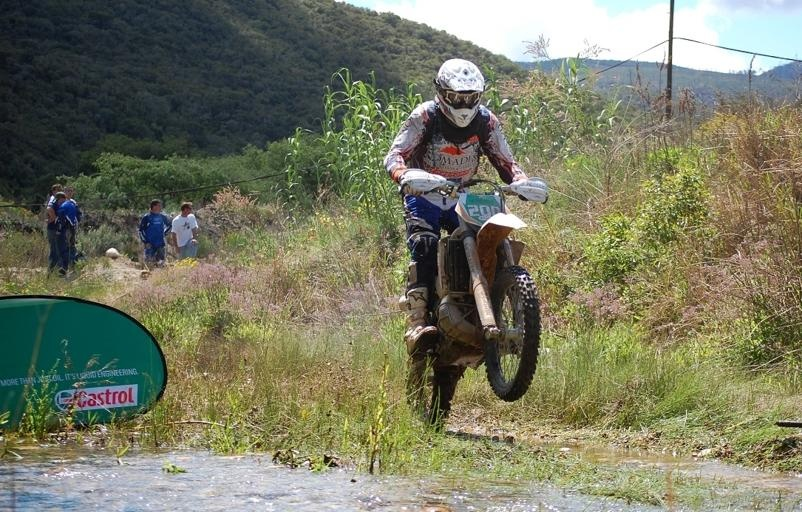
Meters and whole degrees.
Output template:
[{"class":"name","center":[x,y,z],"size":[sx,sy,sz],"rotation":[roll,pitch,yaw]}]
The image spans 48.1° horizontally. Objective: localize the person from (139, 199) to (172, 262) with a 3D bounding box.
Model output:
[{"class":"person","center":[-5.921,-0.554,21.604],"size":[0.735,1.618,1.105],"rotation":[1,-8,-11]}]

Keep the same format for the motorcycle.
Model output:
[{"class":"motorcycle","center":[0.937,0.537,11.262],"size":[1.698,3.133,0.972],"rotation":[-6,-10,34]}]

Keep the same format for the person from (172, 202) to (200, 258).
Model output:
[{"class":"person","center":[-5.215,-0.656,21.621],"size":[0.597,1.602,1.388],"rotation":[2,-8,-14]}]
